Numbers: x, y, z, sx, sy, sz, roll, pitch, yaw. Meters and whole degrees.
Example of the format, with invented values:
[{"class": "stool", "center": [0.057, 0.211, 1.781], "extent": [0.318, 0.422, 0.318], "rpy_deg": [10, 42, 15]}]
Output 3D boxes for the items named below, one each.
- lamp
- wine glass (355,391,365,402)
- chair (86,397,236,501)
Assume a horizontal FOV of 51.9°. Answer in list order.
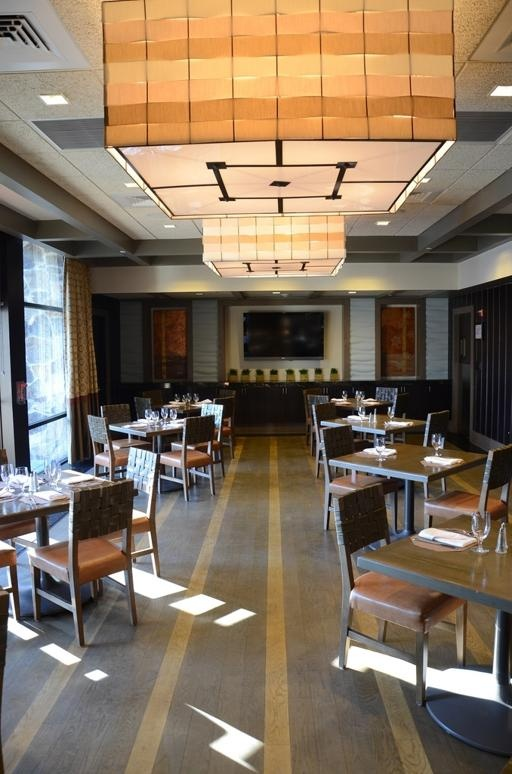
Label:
[{"class": "lamp", "center": [0.170, -1.206, 4.473], "extent": [0.879, 0.307, 0.999], "rpy_deg": [0, -2, 2]}, {"class": "wine glass", "center": [1.628, 0.157, 8.356], "extent": [0.161, 0.191, 0.165], "rpy_deg": [-1, 3, -9]}, {"class": "chair", "center": [-0.707, 0.663, 6.071], "extent": [1.168, 0.829, 1.206], "rpy_deg": [1, 3, 34]}]
